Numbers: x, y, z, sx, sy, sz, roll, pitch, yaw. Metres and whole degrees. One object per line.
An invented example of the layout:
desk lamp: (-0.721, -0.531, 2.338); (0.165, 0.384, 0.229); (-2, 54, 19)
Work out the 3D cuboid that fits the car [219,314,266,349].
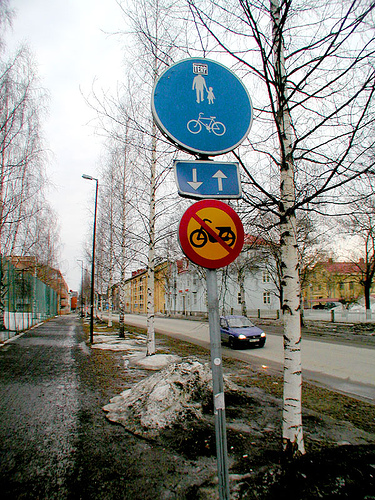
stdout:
car: (1.887, 2.964, 14.560); (1.344, 1.064, 1.986); (0, -7, -5)
